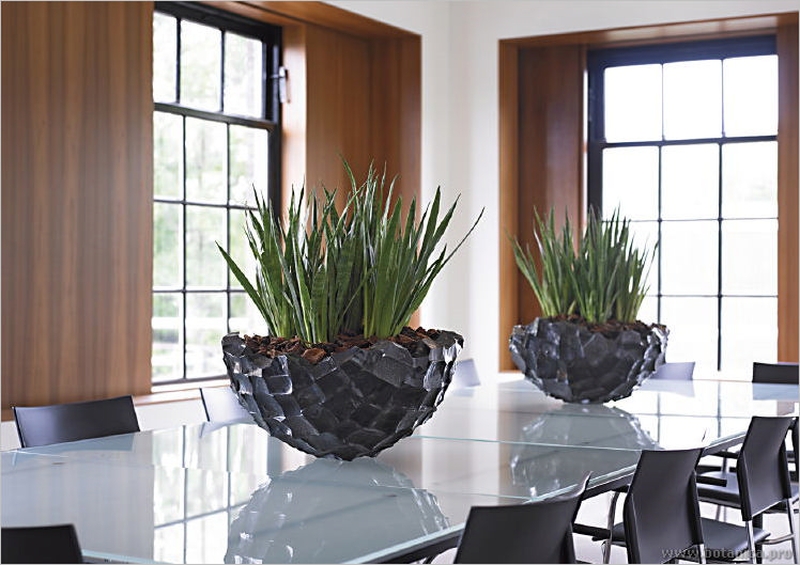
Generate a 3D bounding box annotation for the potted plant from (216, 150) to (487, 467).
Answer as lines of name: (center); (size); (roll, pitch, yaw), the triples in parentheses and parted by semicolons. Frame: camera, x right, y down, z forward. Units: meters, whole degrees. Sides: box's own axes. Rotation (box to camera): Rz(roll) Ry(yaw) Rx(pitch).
potted plant: (-0.168, 0.136, 1.971); (0.753, 0.883, 0.704); (-1, -6, 10)
